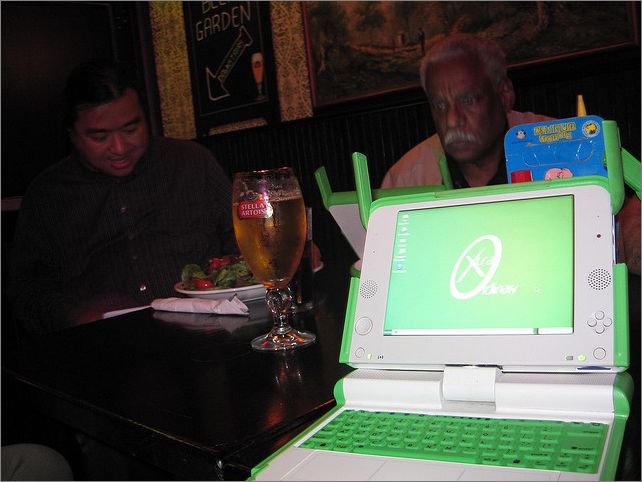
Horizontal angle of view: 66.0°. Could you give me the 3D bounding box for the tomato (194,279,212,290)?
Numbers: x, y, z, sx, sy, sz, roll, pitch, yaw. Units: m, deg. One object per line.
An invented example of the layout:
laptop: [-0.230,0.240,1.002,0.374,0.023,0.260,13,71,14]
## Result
tomato: [-0.255,0.094,1.071,0.029,0.017,0.024,1,1,44]

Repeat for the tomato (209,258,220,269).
tomato: [-0.250,0.049,1.163,0.022,0.010,0.028,3,25,5]
